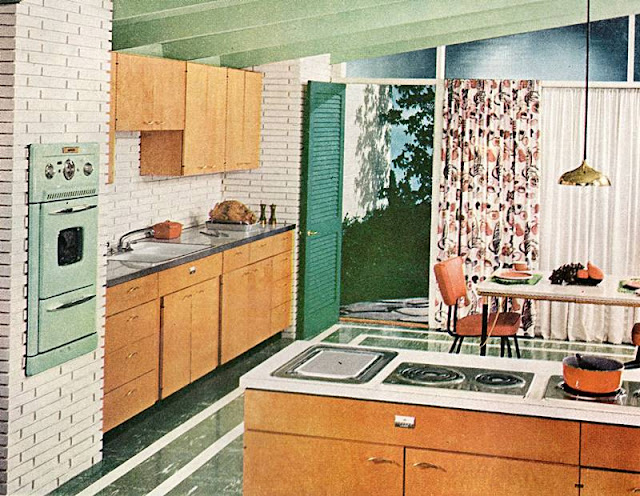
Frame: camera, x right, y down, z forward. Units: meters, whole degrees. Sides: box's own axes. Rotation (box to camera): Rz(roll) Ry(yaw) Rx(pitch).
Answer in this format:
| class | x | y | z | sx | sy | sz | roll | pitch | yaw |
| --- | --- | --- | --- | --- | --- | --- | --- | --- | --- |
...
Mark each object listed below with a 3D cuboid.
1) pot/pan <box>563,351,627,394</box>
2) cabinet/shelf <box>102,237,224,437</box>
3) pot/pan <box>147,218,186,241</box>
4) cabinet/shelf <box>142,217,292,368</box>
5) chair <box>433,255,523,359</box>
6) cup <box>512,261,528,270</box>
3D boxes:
| class | x | y | z | sx | sy | sz | roll | pitch | yaw |
| --- | --- | --- | --- | --- | --- | --- | --- | --- | --- |
| pot/pan | 1.106 | 0.509 | 2.568 | 0.231 | 0.112 | 0.316 | -15 | -25 | 39 |
| cabinet/shelf | -0.953 | 0.671 | 4.832 | 0.590 | 1.019 | 1.897 | 13 | -27 | -38 |
| pot/pan | -1.398 | -0.173 | 5.893 | 0.207 | 0.131 | 0.221 | 0 | 6 | 23 |
| cabinet/shelf | -1.058 | 0.438 | 6.361 | 0.692 | 1.092 | 2.006 | 5 | 12 | 27 |
| chair | 1.514 | 0.670 | 5.995 | 0.813 | 1.022 | 0.693 | 5 | 8 | 17 |
| cup | 1.920 | 0.167 | 5.963 | 0.101 | 0.056 | 0.093 | 0 | 2 | 0 |
